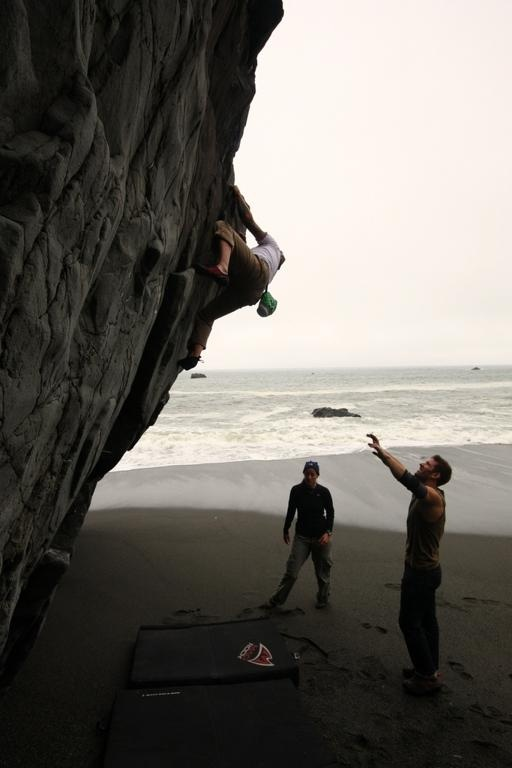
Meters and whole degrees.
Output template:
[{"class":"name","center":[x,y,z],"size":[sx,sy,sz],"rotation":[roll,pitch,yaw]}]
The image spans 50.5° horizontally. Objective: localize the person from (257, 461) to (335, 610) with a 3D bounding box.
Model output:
[{"class":"person","center":[0.618,1.861,6.682],"size":[0.702,1.666,0.859],"rotation":[-3,-1,40]}]

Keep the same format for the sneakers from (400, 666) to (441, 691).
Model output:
[{"class":"sneakers","center":[1.473,2.725,4.934],"size":[0.279,0.126,0.186],"rotation":[5,3,39]}]

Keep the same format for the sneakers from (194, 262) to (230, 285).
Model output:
[{"class":"sneakers","center":[-0.370,-0.933,4.500],"size":[0.321,0.141,0.109],"rotation":[29,11,-37]}]

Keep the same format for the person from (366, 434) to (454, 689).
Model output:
[{"class":"person","center":[1.487,1.638,4.987],"size":[0.608,2.355,0.998],"rotation":[-2,-1,19]}]

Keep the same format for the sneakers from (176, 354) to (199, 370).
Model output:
[{"class":"sneakers","center":[-0.761,-0.258,6.061],"size":[0.154,0.132,0.394],"rotation":[-22,-3,-17]}]

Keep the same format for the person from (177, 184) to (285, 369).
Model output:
[{"class":"person","center":[-0.406,-1.246,5.672],"size":[0.897,1.301,1.696],"rotation":[33,38,16]}]
